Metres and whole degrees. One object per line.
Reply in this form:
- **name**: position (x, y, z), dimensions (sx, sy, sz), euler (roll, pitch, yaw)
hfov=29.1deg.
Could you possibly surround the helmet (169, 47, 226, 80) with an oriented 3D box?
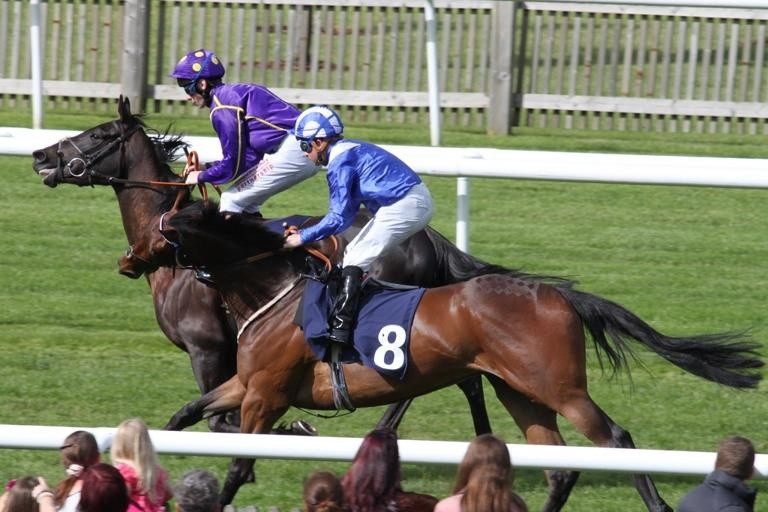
- **helmet**: position (-1.228, -1.261, 9.765), dimensions (0.361, 0.128, 0.206), euler (4, 7, -4)

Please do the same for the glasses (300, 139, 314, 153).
- **glasses**: position (-0.478, -0.678, 9.158), dimensions (0.083, 0.076, 0.070), euler (-1, 40, -3)

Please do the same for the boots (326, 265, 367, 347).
- **boots**: position (-0.234, 0.302, 8.922), dimensions (0.179, 0.460, 0.243), euler (3, 9, 5)

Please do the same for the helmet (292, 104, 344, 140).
- **helmet**: position (-0.370, -0.830, 9.187), dimensions (0.297, 0.177, 0.371), euler (-16, 14, -29)
